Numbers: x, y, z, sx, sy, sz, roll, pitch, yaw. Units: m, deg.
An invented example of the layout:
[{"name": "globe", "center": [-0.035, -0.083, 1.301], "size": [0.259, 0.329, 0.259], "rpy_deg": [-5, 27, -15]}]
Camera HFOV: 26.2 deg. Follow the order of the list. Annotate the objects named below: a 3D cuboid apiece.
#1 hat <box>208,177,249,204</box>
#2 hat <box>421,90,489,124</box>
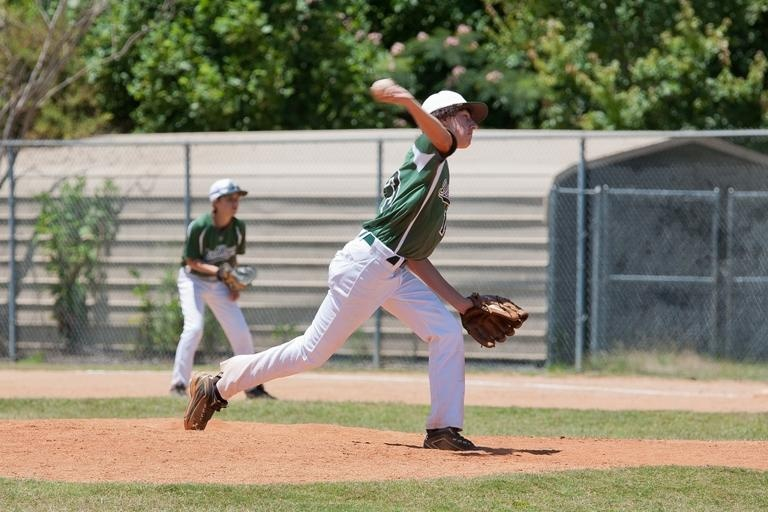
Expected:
[{"name": "hat", "center": [-2.200, -0.802, 22.534], "size": [0.475, 0.255, 0.361], "rpy_deg": [-21, 0, 18]}, {"name": "hat", "center": [0.889, -1.821, 20.042], "size": [0.609, 0.235, 0.427], "rpy_deg": [-5, -4, -3]}]
